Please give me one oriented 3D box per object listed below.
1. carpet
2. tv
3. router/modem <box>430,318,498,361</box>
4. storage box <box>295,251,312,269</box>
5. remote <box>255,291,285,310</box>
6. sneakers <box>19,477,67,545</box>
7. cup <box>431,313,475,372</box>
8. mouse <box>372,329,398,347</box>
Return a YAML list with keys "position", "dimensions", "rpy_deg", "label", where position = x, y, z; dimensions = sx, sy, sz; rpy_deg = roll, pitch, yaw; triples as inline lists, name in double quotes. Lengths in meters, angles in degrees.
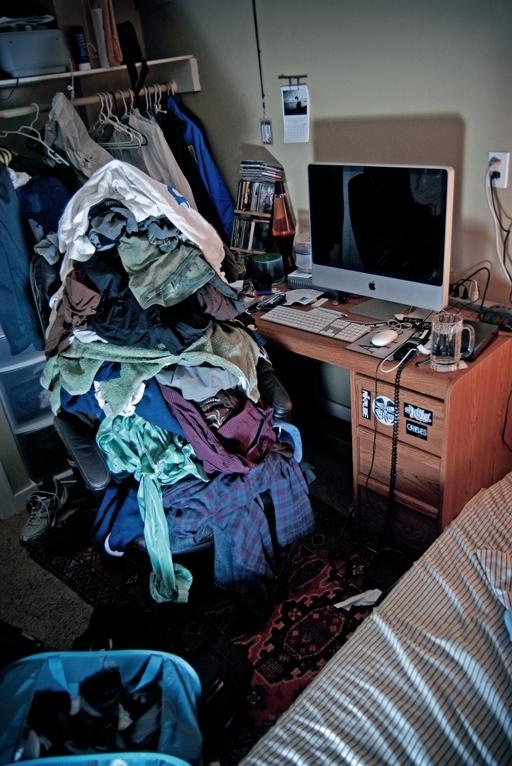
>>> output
- position: [0.059, 0.787, 1.684]
  dimensions: [0.709, 0.010, 0.533]
  rpy_deg: [14, 29, 41]
  label: "carpet"
- position: [0.389, -0.438, 1.624]
  dimensions: [0.485, 0.402, 0.173]
  rpy_deg: [21, 44, 40]
  label: "tv"
- position: [0.599, -0.124, 1.487]
  dimensions: [0.115, 0.028, 0.127]
  rpy_deg: [13, 37, 31]
  label: "router/modem"
- position: [0.200, -0.486, 2.142]
  dimensions: [0.065, 0.062, 0.067]
  rpy_deg: [19, 38, 38]
  label: "storage box"
- position: [0.053, -0.308, 2.015]
  dimensions: [0.103, 0.029, 0.071]
  rpy_deg: [-23, 30, -29]
  label: "remote"
- position: [-0.852, 0.507, 2.180]
  dimensions: [0.106, 0.121, 0.278]
  rpy_deg: [0, 40, 25]
  label: "sneakers"
- position: [0.530, -0.122, 1.450]
  dimensions: [0.112, 0.118, 0.199]
  rpy_deg: [6, 30, 19]
  label: "cup"
- position: [0.368, -0.138, 1.587]
  dimensions: [0.043, 0.018, 0.072]
  rpy_deg: [16, 38, 34]
  label: "mouse"
